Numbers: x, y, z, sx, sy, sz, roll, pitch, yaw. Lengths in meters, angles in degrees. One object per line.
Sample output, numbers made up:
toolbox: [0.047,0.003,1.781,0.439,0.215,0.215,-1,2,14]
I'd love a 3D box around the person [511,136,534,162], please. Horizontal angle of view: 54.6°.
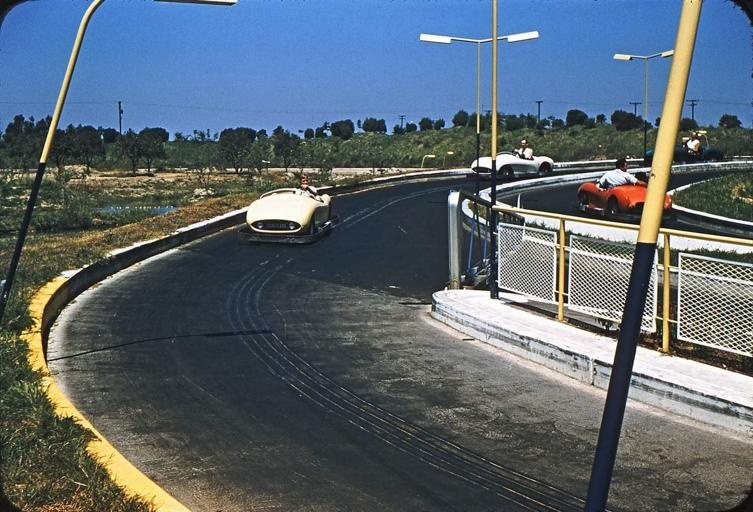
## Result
person: [8.522,-6.254,42.824,0.952,1.179,1.477,12,18,39]

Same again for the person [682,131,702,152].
person: [21.551,-7.517,49.917,0.843,0.830,1.519,5,15,17]

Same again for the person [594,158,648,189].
person: [7.970,-2.688,23.931,0.880,1.134,1.668,-1,14,-7]

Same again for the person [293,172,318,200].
person: [-2.189,-2.144,22.616,0.662,0.652,1.401,-1,15,-7]
